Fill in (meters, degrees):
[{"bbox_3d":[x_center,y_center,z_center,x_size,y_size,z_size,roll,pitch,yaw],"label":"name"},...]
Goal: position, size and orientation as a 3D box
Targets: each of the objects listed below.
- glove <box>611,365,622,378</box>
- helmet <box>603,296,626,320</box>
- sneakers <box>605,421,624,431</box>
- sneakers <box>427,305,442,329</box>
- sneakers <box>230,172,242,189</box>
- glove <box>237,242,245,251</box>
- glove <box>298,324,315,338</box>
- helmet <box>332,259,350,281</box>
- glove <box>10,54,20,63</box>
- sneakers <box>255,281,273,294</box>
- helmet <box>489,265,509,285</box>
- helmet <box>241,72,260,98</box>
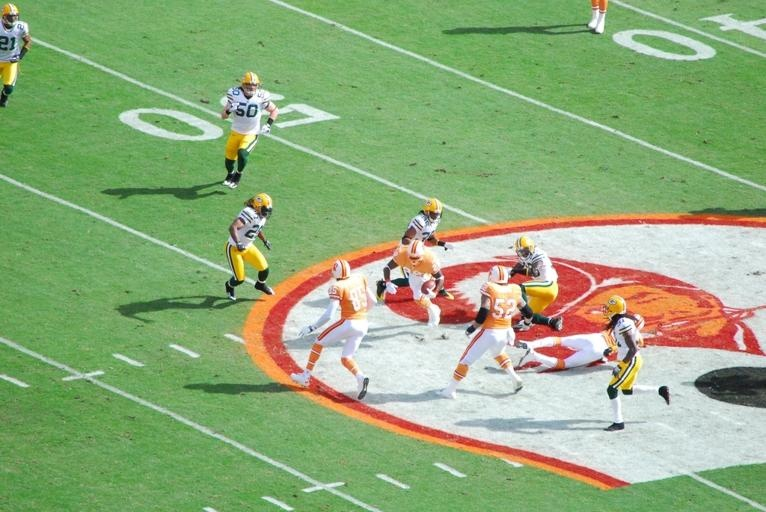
[{"bbox_3d":[4.046,1.995,22.902,0.216,0.173,0.099,5,-13,31],"label":"glove"},{"bbox_3d":[4.036,0.932,23.216,0.387,0.431,0.341,12,37,6],"label":"helmet"},{"bbox_3d":[3.999,2.958,22.941,0.380,0.080,0.151,0,3,3],"label":"sneakers"},{"bbox_3d":[0.961,1.141,25.290,0.382,0.374,0.212,1,14,9],"label":"sneakers"},{"bbox_3d":[-3.191,-1.641,29.113,0.183,0.200,0.363,31,66,-17],"label":"sneakers"},{"bbox_3d":[-2.715,-0.171,25.548,0.062,0.203,0.144,36,46,26],"label":"glove"},{"bbox_3d":[-1.362,1.369,24.006,0.150,0.449,0.153,30,56,-29],"label":"glove"},{"bbox_3d":[-0.725,0.260,23.440,0.304,0.359,0.294,5,37,-3],"label":"helmet"},{"bbox_3d":[-8.453,-4.537,30.629,0.279,0.201,0.100,5,7,-12],"label":"glove"},{"bbox_3d":[-2.330,0.636,26.004,0.406,0.252,0.097,18,73,-21],"label":"sneakers"},{"bbox_3d":[2.051,0.374,23.627,0.347,0.404,0.414,8,35,0],"label":"helmet"},{"bbox_3d":[-2.852,-3.691,28.722,0.345,0.512,0.354,2,38,-8],"label":"helmet"}]
